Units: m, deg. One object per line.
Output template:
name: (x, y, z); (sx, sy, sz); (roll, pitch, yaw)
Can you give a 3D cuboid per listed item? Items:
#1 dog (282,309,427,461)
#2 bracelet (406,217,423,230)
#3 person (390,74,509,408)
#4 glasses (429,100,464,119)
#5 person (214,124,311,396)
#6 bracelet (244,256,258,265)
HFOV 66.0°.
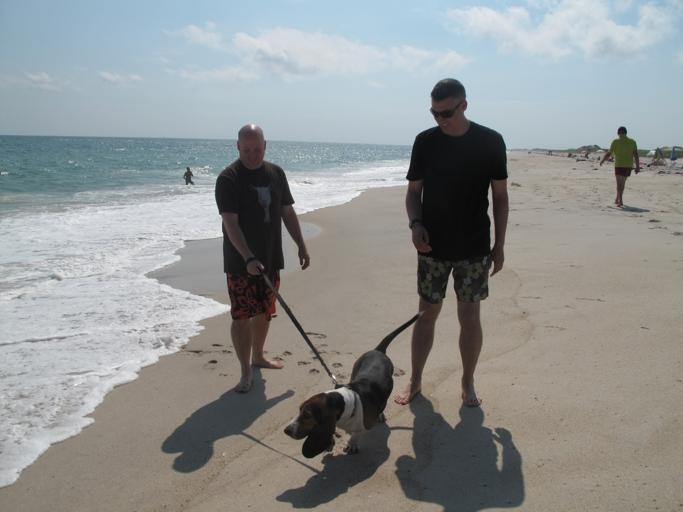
dog: (0.147, 0.855, 3.909); (0.459, 0.579, 1.568); (8, 32, 31)
bracelet: (0.549, -0.241, 3.891); (0.095, 0.064, 0.099); (3, -4, -12)
person: (0.824, -0.065, 3.834); (0.727, 2.336, 0.514); (3, 15, 17)
glasses: (0.743, -1.011, 3.644); (0.219, 0.115, 0.065); (1, 14, 9)
person: (-0.685, -0.010, 4.361); (0.603, 2.084, 0.828); (3, 15, 17)
bracelet: (-0.687, 0.022, 4.022); (0.059, 0.046, 0.060); (-35, 17, 45)
